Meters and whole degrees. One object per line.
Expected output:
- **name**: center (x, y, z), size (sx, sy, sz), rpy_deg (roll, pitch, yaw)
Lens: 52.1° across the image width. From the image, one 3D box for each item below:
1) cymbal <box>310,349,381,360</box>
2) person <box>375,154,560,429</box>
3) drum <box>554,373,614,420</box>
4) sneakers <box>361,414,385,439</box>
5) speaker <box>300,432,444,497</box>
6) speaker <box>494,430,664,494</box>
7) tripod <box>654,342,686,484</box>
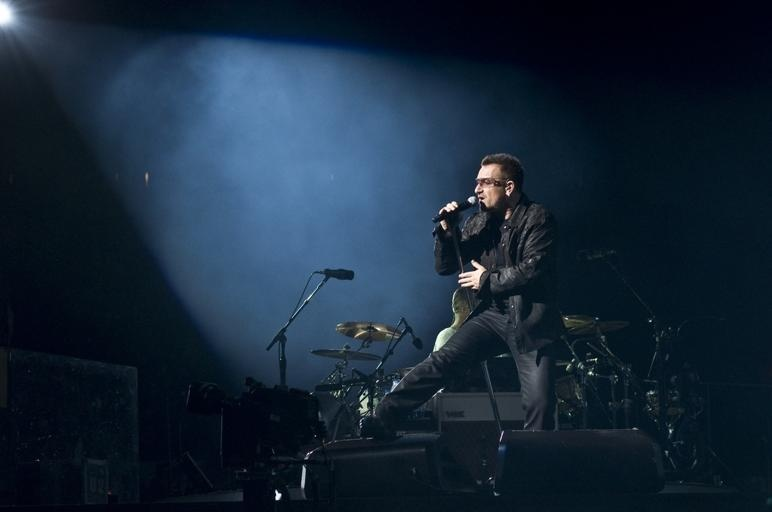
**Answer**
- **cymbal**: center (-0.486, 1.149, 9.154), size (0.778, 0.143, 0.630), rpy_deg (3, -15, -8)
- **person**: center (0.827, 0.287, 6.630), size (1.207, 2.283, 0.367), rpy_deg (-4, -15, 19)
- **drum**: center (2.183, 1.567, 8.793), size (0.584, 0.538, 0.557), rpy_deg (-2, -15, 11)
- **sneakers**: center (-0.112, 1.356, 6.238), size (0.166, 0.151, 0.170), rpy_deg (8, -13, -28)
- **speaker**: center (-0.102, 1.603, 6.215), size (0.775, 0.302, 0.550), rpy_deg (3, -13, -2)
- **speaker**: center (1.467, 1.577, 6.047), size (1.266, 0.490, 0.130), rpy_deg (1, -15, -2)
- **tripod**: center (2.862, 1.598, 8.089), size (0.168, 1.374, 0.239), rpy_deg (-4, -7, -25)
